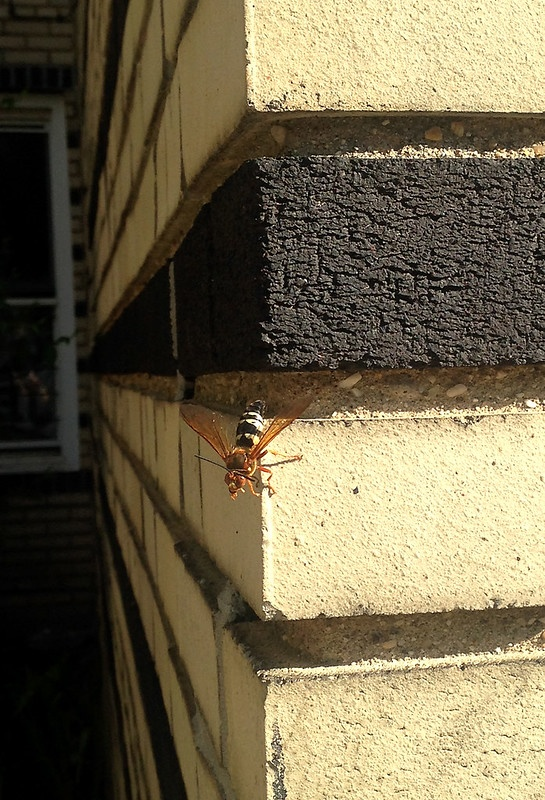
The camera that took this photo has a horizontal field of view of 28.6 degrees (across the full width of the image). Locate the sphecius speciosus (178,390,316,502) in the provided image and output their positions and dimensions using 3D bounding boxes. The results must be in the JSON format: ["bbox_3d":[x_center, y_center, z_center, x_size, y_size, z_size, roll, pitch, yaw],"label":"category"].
[{"bbox_3d":[-0.021,0.039,0.881,0.108,0.064,0.100,-14,18,12],"label":"sphecius speciosus"}]
